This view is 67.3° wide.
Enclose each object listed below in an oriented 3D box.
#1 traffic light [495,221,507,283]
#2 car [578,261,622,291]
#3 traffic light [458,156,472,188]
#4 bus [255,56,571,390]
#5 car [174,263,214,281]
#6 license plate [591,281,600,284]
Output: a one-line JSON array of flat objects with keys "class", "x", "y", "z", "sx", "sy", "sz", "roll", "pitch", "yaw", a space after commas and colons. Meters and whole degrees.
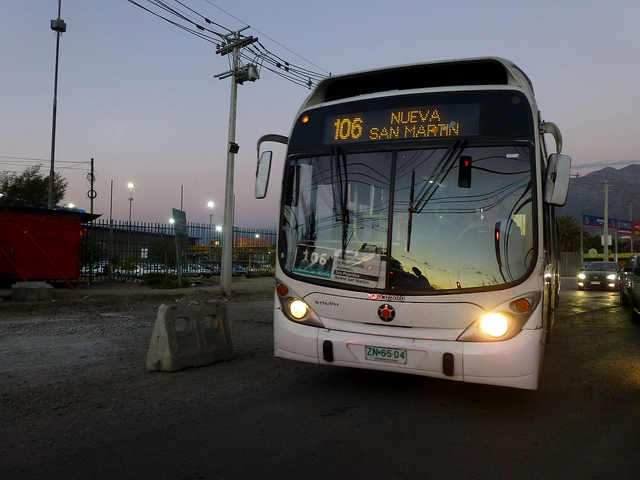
[{"class": "traffic light", "x": 2.036, "y": 0.134, "z": 5.443, "sx": 0.100, "sy": 0.666, "sz": 0.162, "roll": -1, "pitch": 1, "yaw": 11}, {"class": "car", "x": 14.229, "y": 1.905, "z": 24.467, "sx": 1.751, "sy": 1.335, "sz": 1.757, "roll": -1, "pitch": 2, "yaw": 32}, {"class": "traffic light", "x": 1.727, "y": -0.815, "z": 5.724, "sx": 0.161, "sy": 0.386, "sz": 0.098, "roll": -1, "pitch": 1, "yaw": 18}, {"class": "bus", "x": 1.880, "y": -0.007, "z": 8.442, "sx": 2.231, "sy": 2.951, "sz": 6.492, "roll": 0, "pitch": -5, "yaw": 15}, {"class": "car", "x": -6.885, "y": 1.752, "z": 26.720, "sx": 2.066, "sy": 1.211, "sz": 1.283, "roll": -3, "pitch": -2, "yaw": 10}, {"class": "license plate", "x": 13.661, "y": 2.114, "z": 23.859, "sx": 0.351, "sy": 0.134, "sz": 0.079, "roll": -1, "pitch": 1, "yaw": 34}]
